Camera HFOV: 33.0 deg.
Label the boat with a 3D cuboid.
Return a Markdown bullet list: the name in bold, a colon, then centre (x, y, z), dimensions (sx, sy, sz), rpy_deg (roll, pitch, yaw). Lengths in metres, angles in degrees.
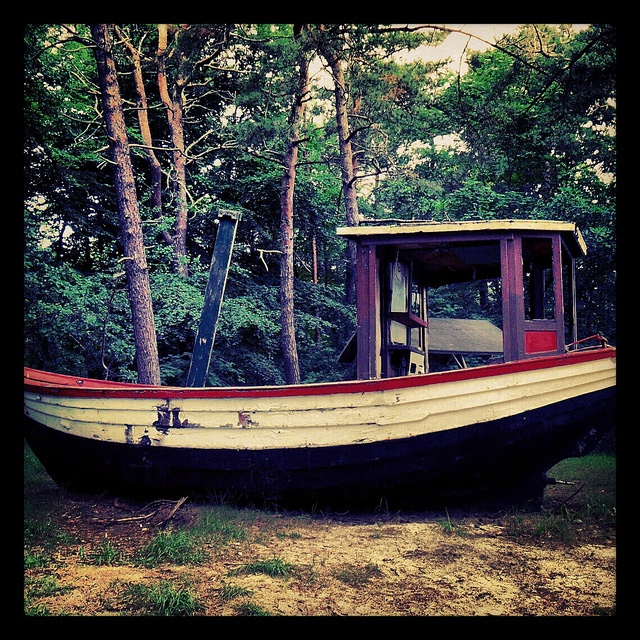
- **boat**: centre (-0.115, 0.383, 12.861), dimensions (7.432, 3.100, 2.363), rpy_deg (-3, -4, 9)
